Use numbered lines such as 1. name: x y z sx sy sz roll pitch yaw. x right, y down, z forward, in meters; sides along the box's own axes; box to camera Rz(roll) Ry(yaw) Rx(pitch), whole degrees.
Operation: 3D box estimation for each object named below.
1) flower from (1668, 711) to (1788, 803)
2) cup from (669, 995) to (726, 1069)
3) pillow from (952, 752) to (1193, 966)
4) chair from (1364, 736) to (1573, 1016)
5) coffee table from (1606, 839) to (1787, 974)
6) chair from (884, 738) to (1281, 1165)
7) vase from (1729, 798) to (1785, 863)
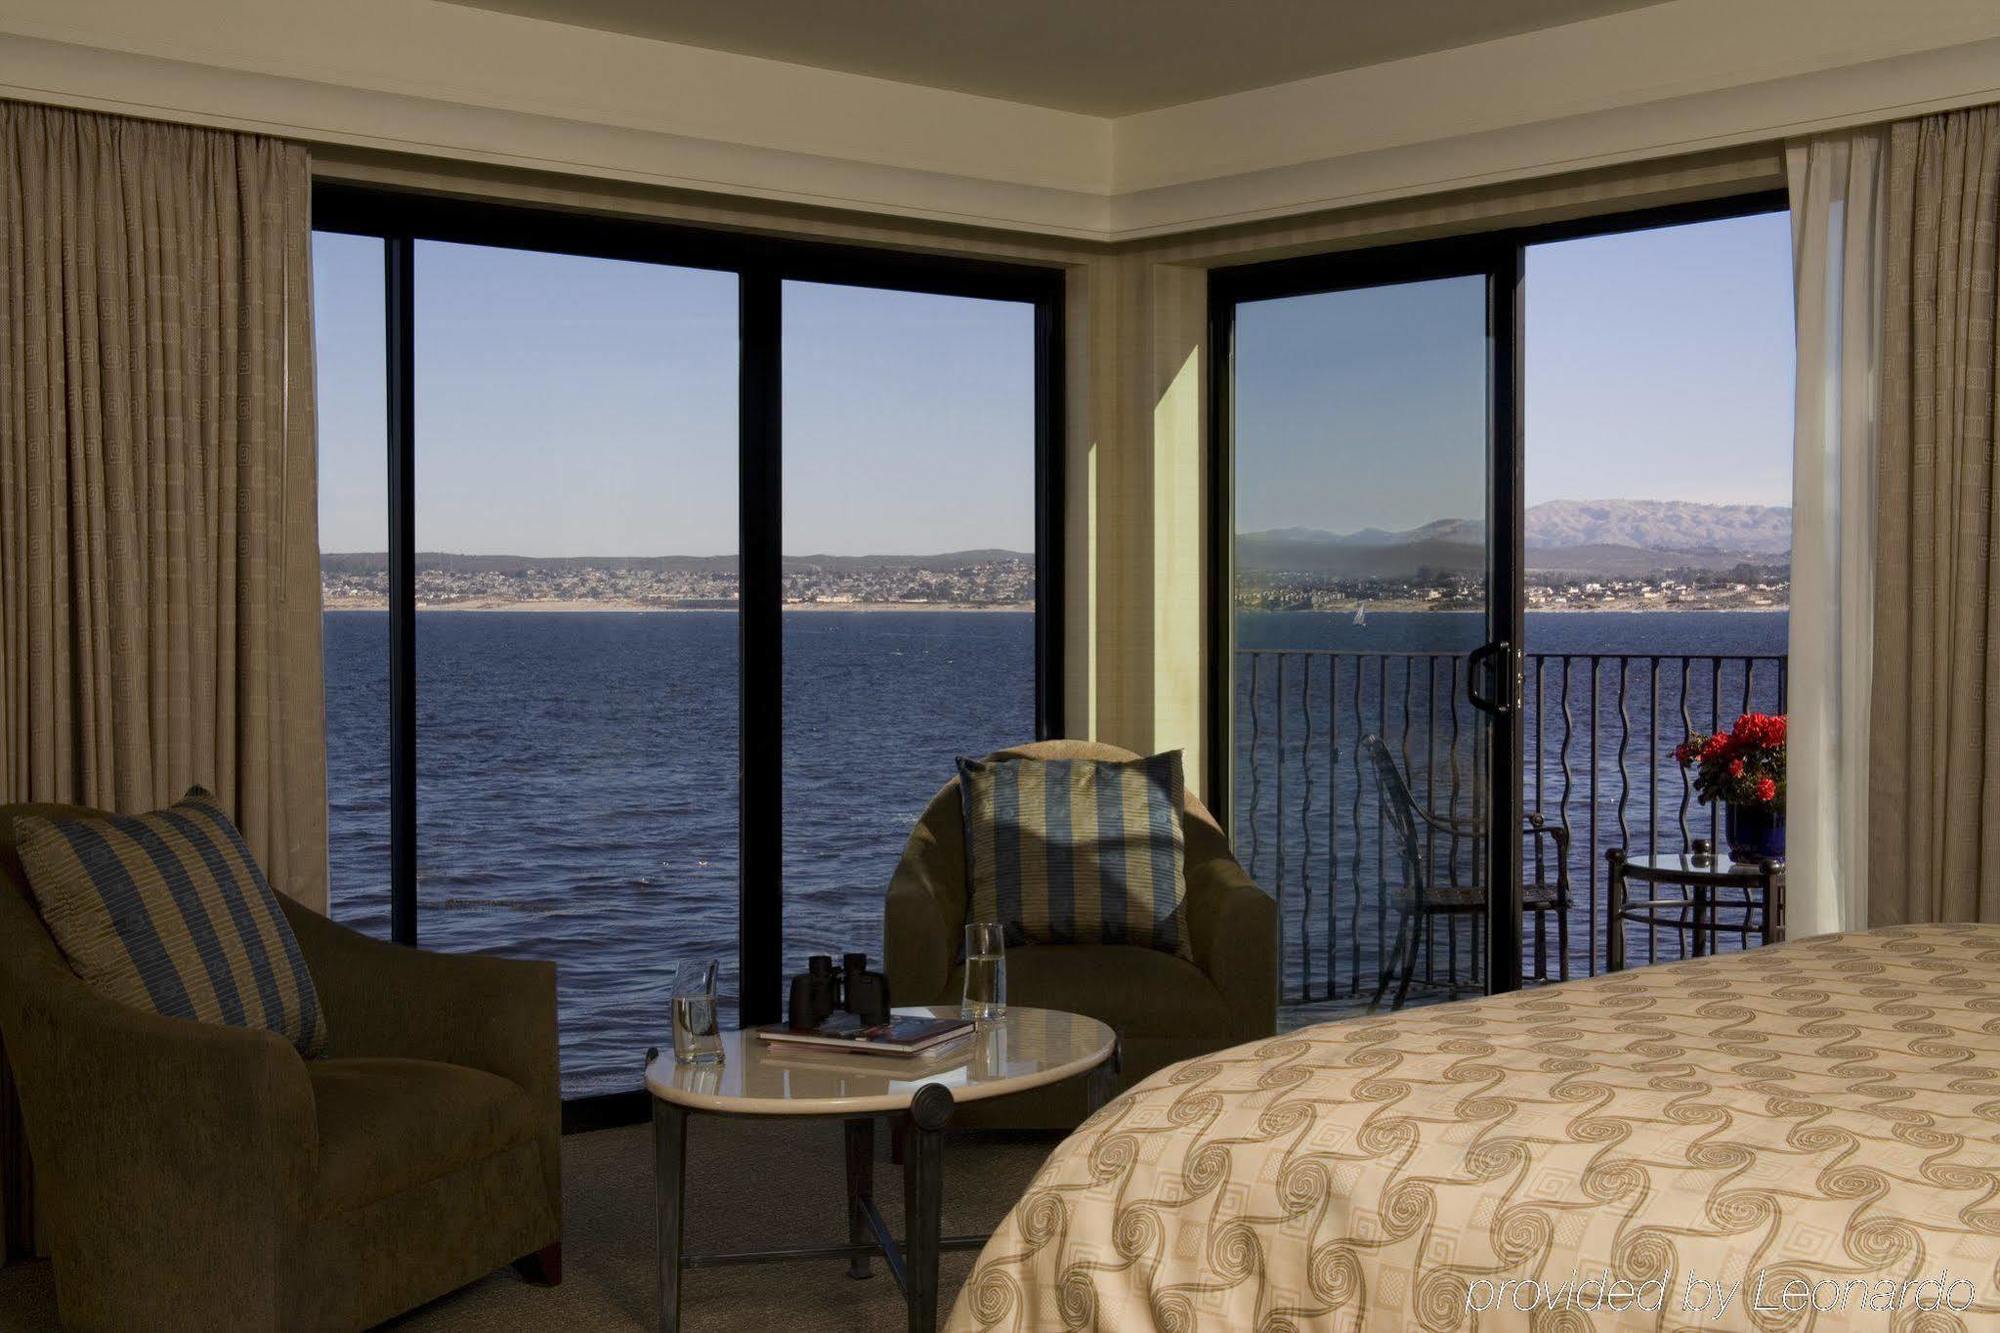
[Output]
1. flower: 2.280 0.284 5.509 0.125 0.284 0.295 -4 5 -37
2. cup: -0.673 0.798 3.917 0.138 0.180 0.135 -1 -4 0
3. pillow: 0.213 0.515 5.024 0.594 0.531 0.167 2 -21 -3
4. chair: 1.523 0.701 5.877 0.646 0.874 0.564 -2 -8 19
5. coffee table: 2.321 0.871 6.009 0.561 0.466 0.490 1 0 9
6. chair: 0.186 0.812 5.133 1.119 1.027 1.035 0 0 -12
7. vase: 2.334 0.496 5.530 0.186 0.190 0.181 1 -6 -7
